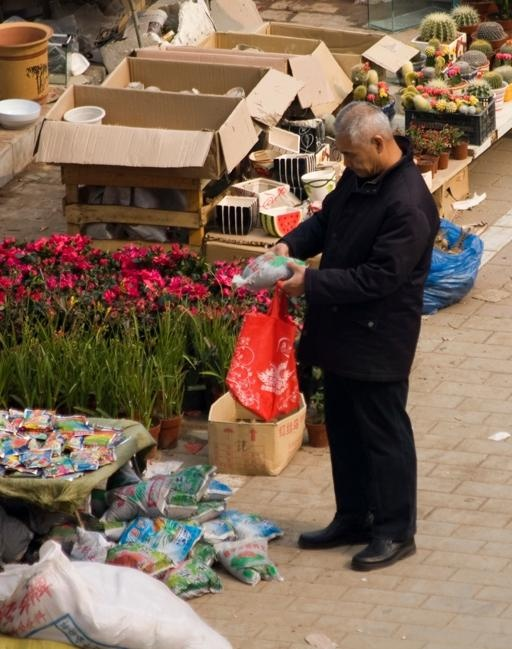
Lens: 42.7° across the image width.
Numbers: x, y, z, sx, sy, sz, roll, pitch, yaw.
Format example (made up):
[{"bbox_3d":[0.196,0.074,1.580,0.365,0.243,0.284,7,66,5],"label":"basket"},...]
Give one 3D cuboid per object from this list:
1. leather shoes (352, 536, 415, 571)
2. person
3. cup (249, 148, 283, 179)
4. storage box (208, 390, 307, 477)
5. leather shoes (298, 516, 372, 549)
[{"bbox_3d":[0.503,0.898,2.623,0.291,0.100,0.096,-7,11,-24],"label":"leather shoes"},{"bbox_3d":[0.379,0.084,2.490,0.644,1.755,0.532,-2,12,23],"label":"person"},{"bbox_3d":[0.089,-1.448,5.924,0.272,0.190,0.285,-1,32,1],"label":"cup"},{"bbox_3d":[-0.008,0.568,3.502,0.500,0.240,0.564,1,11,14],"label":"storage box"},{"bbox_3d":[0.342,0.864,2.821,0.374,0.125,0.117,-2,14,-9],"label":"leather shoes"}]
